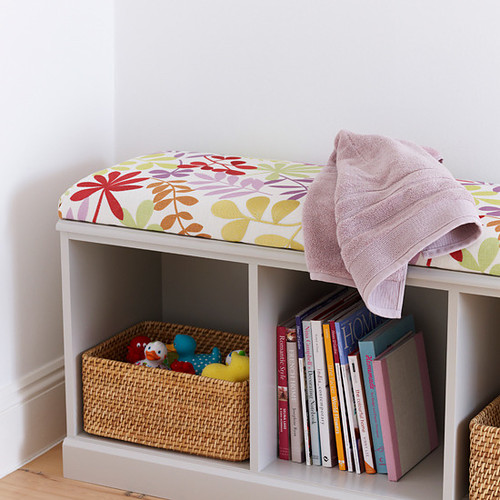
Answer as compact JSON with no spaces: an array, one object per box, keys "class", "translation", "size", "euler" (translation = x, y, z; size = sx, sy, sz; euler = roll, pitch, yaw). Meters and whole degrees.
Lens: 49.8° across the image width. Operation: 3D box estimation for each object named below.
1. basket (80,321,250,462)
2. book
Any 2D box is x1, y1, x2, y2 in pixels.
[{"class":"basket","translation":[-0.125,0.277,1.140],"size":[0.343,0.143,0.234],"euler":[6,9,22]},{"class":"book","translation":[0.184,0.203,1.080],"size":[0.316,0.368,0.311],"euler":[2,14,32]}]
